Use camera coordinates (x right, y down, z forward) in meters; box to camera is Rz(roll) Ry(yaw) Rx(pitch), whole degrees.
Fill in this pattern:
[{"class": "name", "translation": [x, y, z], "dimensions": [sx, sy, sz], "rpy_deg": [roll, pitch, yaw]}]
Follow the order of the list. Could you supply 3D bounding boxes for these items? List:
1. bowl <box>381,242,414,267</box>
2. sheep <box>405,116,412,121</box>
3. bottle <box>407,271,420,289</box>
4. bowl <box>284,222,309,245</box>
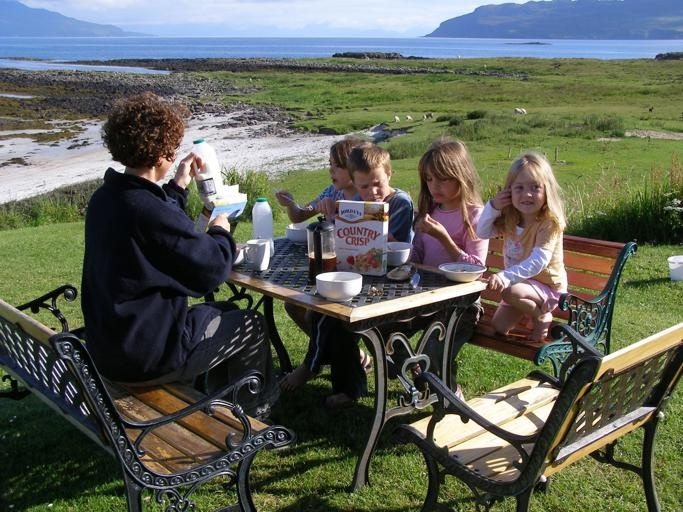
[{"class": "bowl", "translation": [0.422, 0.002, 3.712], "dimensions": [0.199, 0.104, 0.190], "rpy_deg": [-2, -1, 0]}, {"class": "sheep", "translation": [5.713, -11.618, 41.425], "dimensions": [0.381, 0.494, 1.225], "rpy_deg": [-4, 7, 15]}, {"class": "bottle", "translation": [0.487, 0.177, 3.332], "dimensions": [0.067, 0.023, 0.204], "rpy_deg": [10, 15, 11]}, {"class": "bowl", "translation": [-0.402, -0.190, 4.335], "dimensions": [0.221, 0.116, 0.210], "rpy_deg": [1, 3, 0]}]
